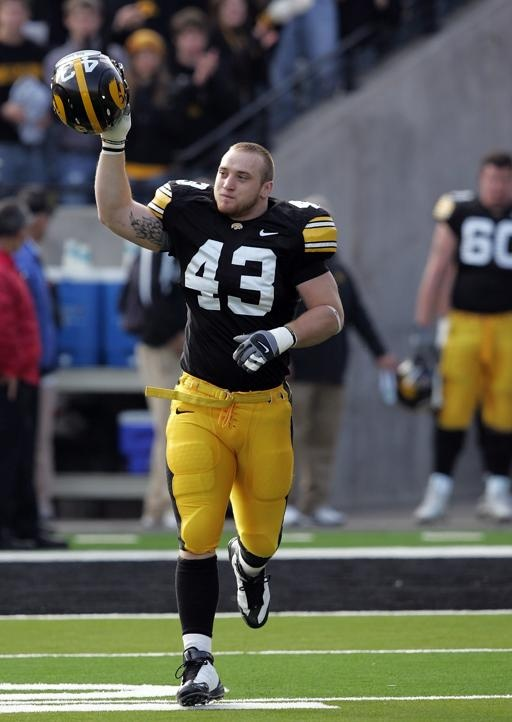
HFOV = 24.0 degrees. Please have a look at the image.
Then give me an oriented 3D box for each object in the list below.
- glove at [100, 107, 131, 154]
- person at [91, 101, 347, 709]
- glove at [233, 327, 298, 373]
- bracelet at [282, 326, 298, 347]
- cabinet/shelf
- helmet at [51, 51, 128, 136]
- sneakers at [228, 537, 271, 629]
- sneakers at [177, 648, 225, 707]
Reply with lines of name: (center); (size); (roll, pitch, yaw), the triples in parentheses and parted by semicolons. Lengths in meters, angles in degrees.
glove: (-0.438, -0.718, 3.766); (0.112, 0.134, 0.133); (9, 14, 25)
person: (-0.090, 0.124, 3.803); (0.577, 1.620, 0.716); (2, -1, 42)
glove: (0.021, -0.033, 3.612); (0.182, 0.114, 0.067); (-30, -18, -30)
bracelet: (0.109, -0.071, 3.634); (0.037, 0.053, 0.045); (-5, 15, 27)
cabinet/shelf: (-1.275, 0.503, 7.933); (1.071, 0.807, 0.243); (2, 4, 15)
helmet: (-0.478, -0.821, 3.729); (0.247, 0.242, 0.234); (-5, 11, 4)
sneakers: (-0.023, 0.789, 4.172); (0.134, 0.330, 0.142); (-13, 16, -7)
sneakers: (-0.163, 0.934, 3.532); (0.142, 0.149, 0.178); (3, -1, -1)
